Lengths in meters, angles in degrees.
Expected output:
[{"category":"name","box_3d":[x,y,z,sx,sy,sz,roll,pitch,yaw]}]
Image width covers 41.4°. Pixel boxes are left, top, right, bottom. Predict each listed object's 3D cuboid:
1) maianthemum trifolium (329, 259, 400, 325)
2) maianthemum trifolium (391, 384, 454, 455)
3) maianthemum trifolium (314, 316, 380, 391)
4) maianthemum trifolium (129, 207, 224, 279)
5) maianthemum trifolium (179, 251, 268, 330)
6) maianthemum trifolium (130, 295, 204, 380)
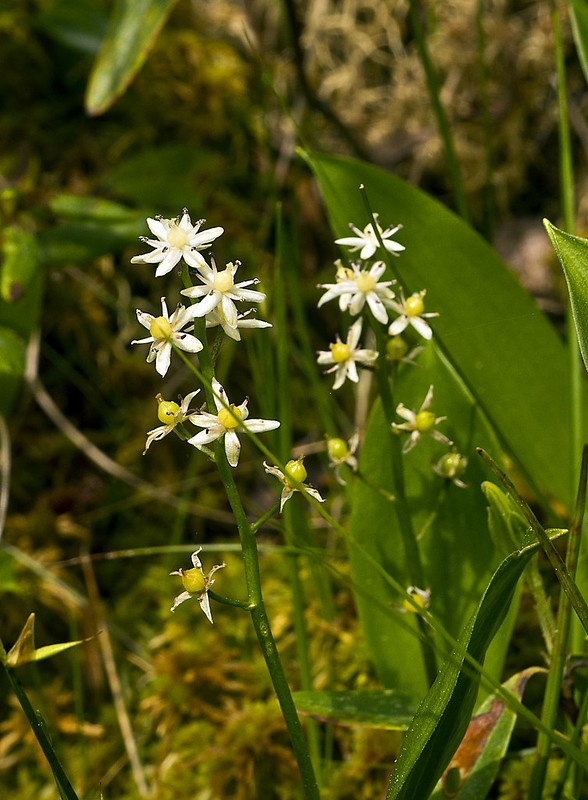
[{"category":"maianthemum trifolium","box_3d":[0.058,-0.093,0.687,0.057,0.030,0.057,-39,67,1]},{"category":"maianthemum trifolium","box_3d":[0.101,0.026,0.703,0.067,0.058,0.032,3,12,-9]},{"category":"maianthemum trifolium","box_3d":[0.061,-0.038,0.705,0.032,0.058,0.063,27,78,-38]},{"category":"maianthemum trifolium","box_3d":[-0.090,-0.123,0.586,0.053,0.050,0.016,23,67,-39]},{"category":"maianthemum trifolium","box_3d":[-0.053,-0.082,0.596,0.059,0.028,0.053,-16,72,-7]},{"category":"maianthemum trifolium","box_3d":[-0.096,-0.055,0.576,0.040,0.048,0.022,-31,75,-32]}]
